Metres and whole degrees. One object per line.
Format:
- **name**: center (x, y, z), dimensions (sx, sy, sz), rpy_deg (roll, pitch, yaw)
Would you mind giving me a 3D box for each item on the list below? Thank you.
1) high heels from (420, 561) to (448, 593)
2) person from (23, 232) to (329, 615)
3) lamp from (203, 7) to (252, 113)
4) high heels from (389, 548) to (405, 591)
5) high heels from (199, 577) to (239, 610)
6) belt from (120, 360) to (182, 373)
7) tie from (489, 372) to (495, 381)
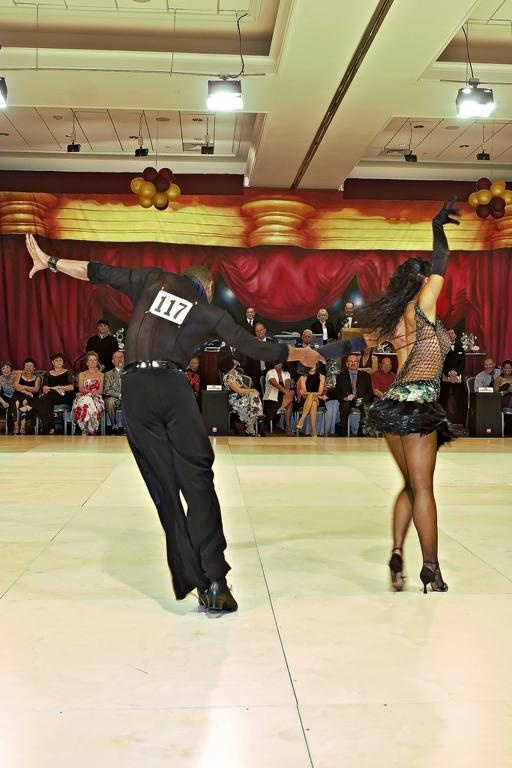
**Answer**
- **high heels**: center (0.864, 0.918, 2.684), dimensions (0.179, 0.115, 0.094), rpy_deg (-2, 1, -20)
- **person**: center (-0.343, 0.213, 2.573), dimensions (1.061, 1.545, 0.401), rpy_deg (-2, 1, 3)
- **lamp**: center (-0.422, -4.550, 8.346), dimensions (0.588, 1.164, 1.348), rpy_deg (-2, 1, -3)
- **high heels**: center (0.691, 0.922, 2.760), dimensions (0.063, 0.185, 0.078), rpy_deg (-2, -15, 10)
- **high heels**: center (-0.159, 0.939, 2.493), dimensions (0.089, 0.109, 0.242), rpy_deg (0, -6, 10)
- **belt**: center (-0.449, -0.075, 2.463), dimensions (0.254, 0.042, 0.121), rpy_deg (-2, 1, -10)
- **tie**: center (5.163, -0.156, 12.225), dimensions (0.145, 0.151, 0.179), rpy_deg (-2, -10, 8)
